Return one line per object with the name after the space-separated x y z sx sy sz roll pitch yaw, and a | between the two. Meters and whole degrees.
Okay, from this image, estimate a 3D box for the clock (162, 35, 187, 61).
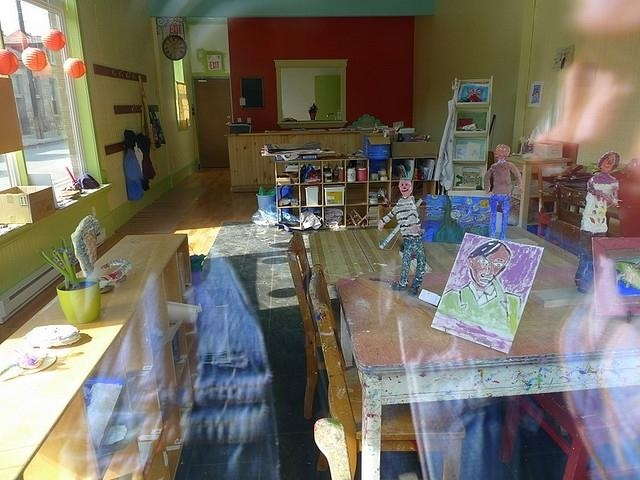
-2.968 -3.935 8.860 0.502 0.491 0.452 -4 19 -6 | clock

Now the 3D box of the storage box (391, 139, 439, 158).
1.284 -1.223 5.903 0.625 0.227 0.109 -1 19 0 | storage box

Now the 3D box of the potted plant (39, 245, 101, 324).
-1.118 0.194 1.996 0.269 0.331 0.188 17 26 42 | potted plant

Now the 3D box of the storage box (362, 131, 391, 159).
0.785 -1.264 5.980 0.302 0.287 0.440 -4 19 -4 | storage box

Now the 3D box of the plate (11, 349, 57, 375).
-1.116 0.472 1.706 0.152 0.046 0.131 -15 23 -34 | plate

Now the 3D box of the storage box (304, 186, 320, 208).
-0.085 -0.624 6.170 0.228 0.356 0.284 0 21 2 | storage box

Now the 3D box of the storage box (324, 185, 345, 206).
0.210 -0.621 6.081 0.255 0.261 0.260 0 12 3 | storage box

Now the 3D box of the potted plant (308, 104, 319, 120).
-0.146 -2.829 9.635 0.247 0.361 0.254 -2 22 -2 | potted plant

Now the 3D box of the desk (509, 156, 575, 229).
2.452 -0.526 4.795 0.585 0.864 0.603 -7 26 -12 | desk

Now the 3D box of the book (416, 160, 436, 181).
1.438 -0.963 5.958 0.103 0.300 0.284 8 7 -26 | book

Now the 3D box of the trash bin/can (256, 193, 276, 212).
-0.821 -0.595 6.700 0.256 0.280 0.263 1 22 3 | trash bin/can

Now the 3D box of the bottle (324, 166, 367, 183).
0.359 -0.924 6.142 0.624 0.218 0.230 1 19 7 | bottle
